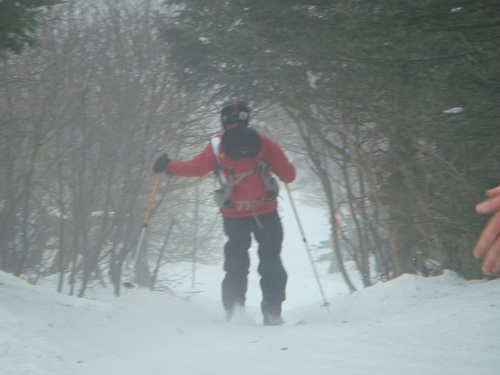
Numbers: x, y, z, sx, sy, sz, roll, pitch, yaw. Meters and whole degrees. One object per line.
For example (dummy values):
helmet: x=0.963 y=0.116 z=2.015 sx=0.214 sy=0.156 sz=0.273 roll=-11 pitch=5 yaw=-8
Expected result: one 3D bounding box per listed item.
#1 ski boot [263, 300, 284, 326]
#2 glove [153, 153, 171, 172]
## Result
ski boot: x=0.373 y=2.013 z=12.288 sx=0.473 sy=0.336 sz=0.286 roll=0 pitch=-37 yaw=4
glove: x=-1.454 y=-0.411 z=12.461 sx=0.235 sy=0.316 sz=0.132 roll=35 pitch=-8 yaw=-9
